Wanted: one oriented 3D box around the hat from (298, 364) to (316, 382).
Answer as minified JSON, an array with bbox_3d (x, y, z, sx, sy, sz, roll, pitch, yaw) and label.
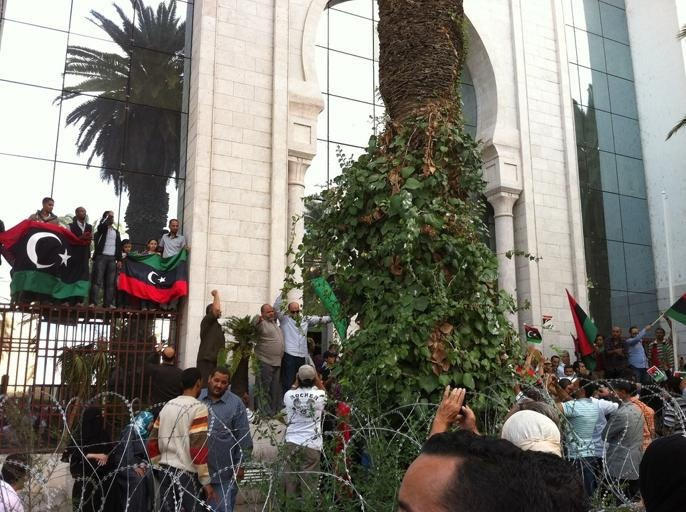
[{"bbox_3d":[-0.474,1.550,8.527,0.232,0.203,0.202,2,-11,-8],"label":"hat"}]
